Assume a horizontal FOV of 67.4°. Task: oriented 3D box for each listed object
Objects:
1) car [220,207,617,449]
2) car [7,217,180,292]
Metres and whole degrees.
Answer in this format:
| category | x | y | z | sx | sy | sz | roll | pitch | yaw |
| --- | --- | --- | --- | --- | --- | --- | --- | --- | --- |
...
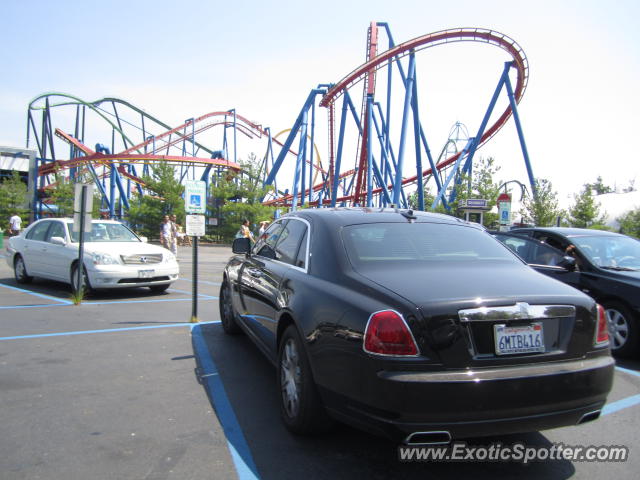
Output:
| category | x | y | z | sx | sy | sz | roll | pitch | yaw |
| --- | --- | --- | --- | --- | --- | --- | --- | --- | --- |
| car | 0.272 | 0.661 | 4.469 | 1.571 | 1.133 | 3.419 | 1 | -3 | -25 |
| car | -5.196 | 0.383 | 10.675 | 3.767 | 1.258 | 1.740 | -3 | -6 | 39 |
